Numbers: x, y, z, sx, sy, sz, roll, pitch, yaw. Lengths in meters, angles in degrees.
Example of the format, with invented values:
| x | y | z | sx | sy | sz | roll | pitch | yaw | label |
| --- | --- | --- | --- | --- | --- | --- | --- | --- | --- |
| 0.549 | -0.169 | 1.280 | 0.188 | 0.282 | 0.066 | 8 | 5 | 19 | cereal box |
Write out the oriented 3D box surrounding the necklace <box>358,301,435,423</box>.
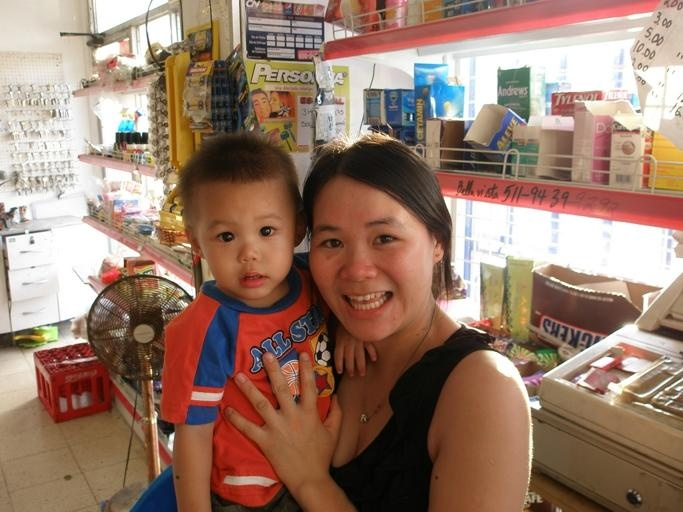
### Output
| x | y | z | sx | sy | sz | roll | pitch | yaw | label |
| --- | --- | --- | --- | --- | --- | --- | --- | --- | --- |
| 0.162 | 0.292 | 1.430 | 0.059 | 0.399 | 0.045 | 18 | 19 | -31 | necklace |
